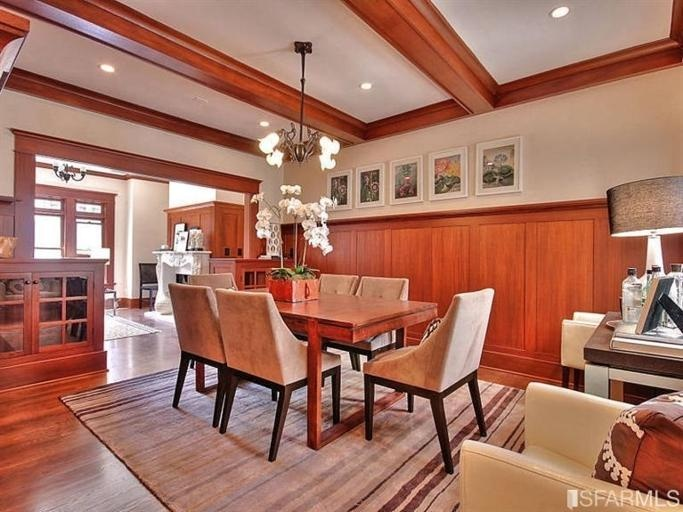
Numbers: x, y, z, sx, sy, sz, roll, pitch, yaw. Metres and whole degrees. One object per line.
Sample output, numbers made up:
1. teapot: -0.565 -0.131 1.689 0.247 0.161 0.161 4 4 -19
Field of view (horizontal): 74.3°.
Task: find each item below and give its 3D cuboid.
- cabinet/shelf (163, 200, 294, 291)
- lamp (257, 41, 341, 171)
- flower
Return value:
1. cabinet/shelf: -1.710 -0.175 6.966 1.575 1.534 0.556 -3 -4 35
2. lamp: -0.398 -1.472 4.462 0.810 1.209 0.796 13 17 39
3. flower: -0.456 -0.180 4.122 0.562 0.645 0.600 6 -20 -15
